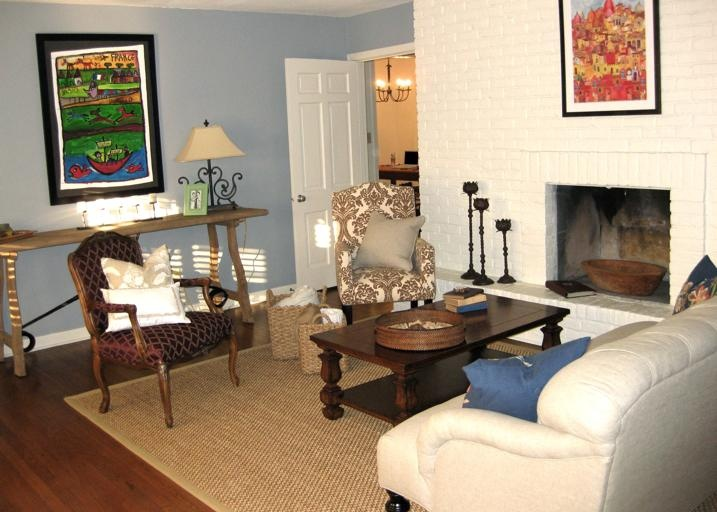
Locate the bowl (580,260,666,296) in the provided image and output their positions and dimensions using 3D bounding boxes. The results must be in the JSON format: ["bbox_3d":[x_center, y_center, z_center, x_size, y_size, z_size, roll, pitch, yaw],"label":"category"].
[{"bbox_3d":[2.169,0.172,4.302,0.600,0.222,0.492,4,14,36],"label":"bowl"}]

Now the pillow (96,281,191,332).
[{"bbox_3d":[-1.370,0.324,3.424,0.545,0.291,0.152,-3,-14,-25],"label":"pillow"}]

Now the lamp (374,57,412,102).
[{"bbox_3d":[0.676,-3.537,10.770,0.481,0.835,0.860,3,15,34],"label":"lamp"}]

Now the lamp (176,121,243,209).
[{"bbox_3d":[-1.479,-0.862,5.202,0.661,0.800,0.565,-7,10,-20],"label":"lamp"}]

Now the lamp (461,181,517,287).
[{"bbox_3d":[1.118,-0.201,4.671,0.525,0.892,0.413,4,16,37],"label":"lamp"}]

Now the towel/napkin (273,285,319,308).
[{"bbox_3d":[-0.506,0.358,4.245,0.241,0.108,0.187,-11,12,26],"label":"towel/napkin"}]

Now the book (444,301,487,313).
[{"bbox_3d":[0.738,0.351,3.513,0.129,0.029,0.126,-6,7,-40],"label":"book"}]

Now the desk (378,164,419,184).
[{"bbox_3d":[0.791,-1.455,9.472,0.979,0.293,0.594,6,15,42],"label":"desk"}]
